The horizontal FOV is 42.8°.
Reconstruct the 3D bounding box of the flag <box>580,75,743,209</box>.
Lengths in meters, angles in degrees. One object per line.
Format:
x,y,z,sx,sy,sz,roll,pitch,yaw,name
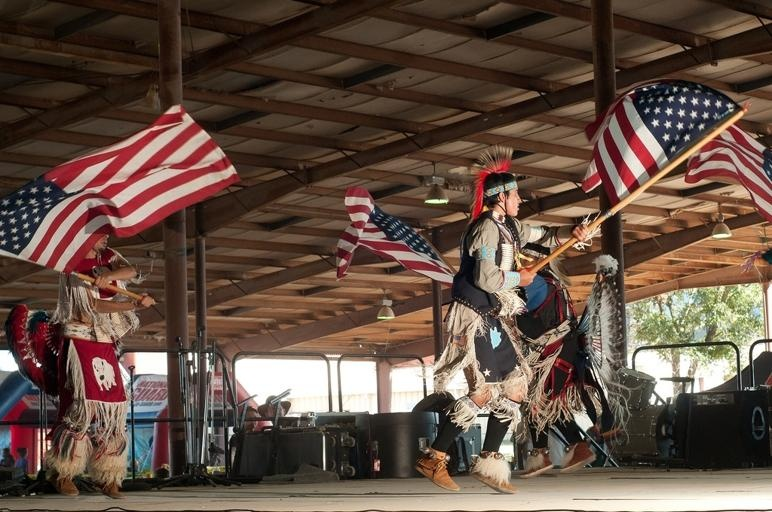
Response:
2.320,-0.996,8.556,0.470,1.001,1.459,8,-19,-31,flag

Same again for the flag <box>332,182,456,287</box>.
0.110,-0.233,10.099,1.774,0.719,0.425,19,-67,-4,flag

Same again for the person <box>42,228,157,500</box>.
-2.328,1.038,7.878,0.660,1.738,0.766,2,-20,-16,person

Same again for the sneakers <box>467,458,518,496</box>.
0.810,1.623,7.407,0.302,0.304,0.194,-4,-19,3,sneakers

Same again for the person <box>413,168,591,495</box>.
0.845,0.531,7.677,0.736,2.551,0.907,13,-26,-38,person

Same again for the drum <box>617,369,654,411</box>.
2.601,1.341,10.073,0.358,0.460,0.429,-7,-18,10,drum
